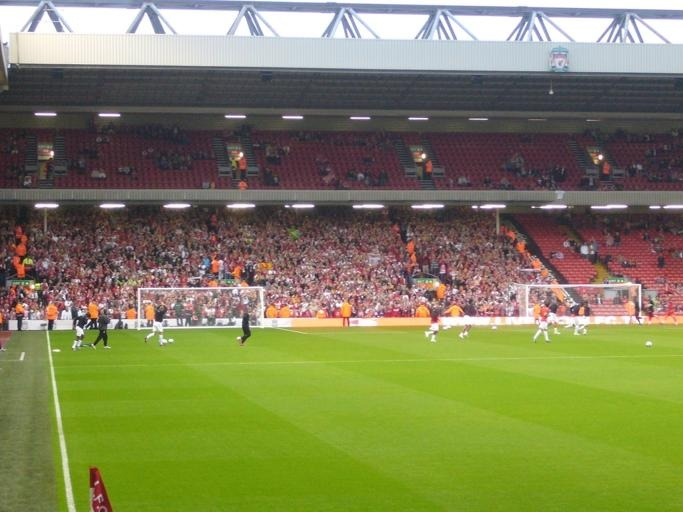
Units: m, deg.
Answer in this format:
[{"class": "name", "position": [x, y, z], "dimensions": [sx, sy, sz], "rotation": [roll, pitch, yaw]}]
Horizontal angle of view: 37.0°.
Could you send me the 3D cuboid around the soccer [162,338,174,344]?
[{"class": "soccer", "position": [-7.497, 3.697, 44.049], "dimensions": [0.265, 0.201, 0.515], "rotation": [-3, -6, 41]}]
